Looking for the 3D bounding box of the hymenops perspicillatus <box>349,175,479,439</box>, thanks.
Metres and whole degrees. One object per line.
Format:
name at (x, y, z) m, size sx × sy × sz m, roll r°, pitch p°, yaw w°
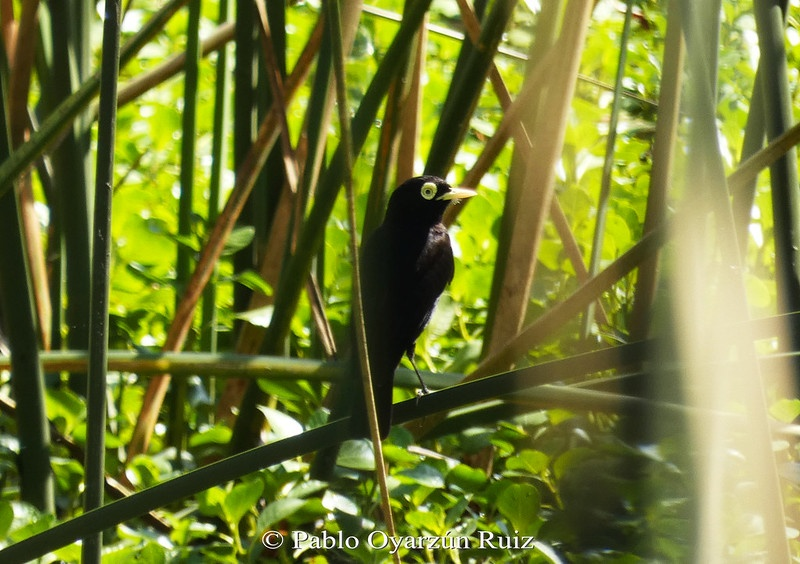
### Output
hymenops perspicillatus at (0.044, 0.047, 1.960) m, size 0.241 × 0.576 × 0.404 m, roll -2°, pitch -20°, yaw -3°
